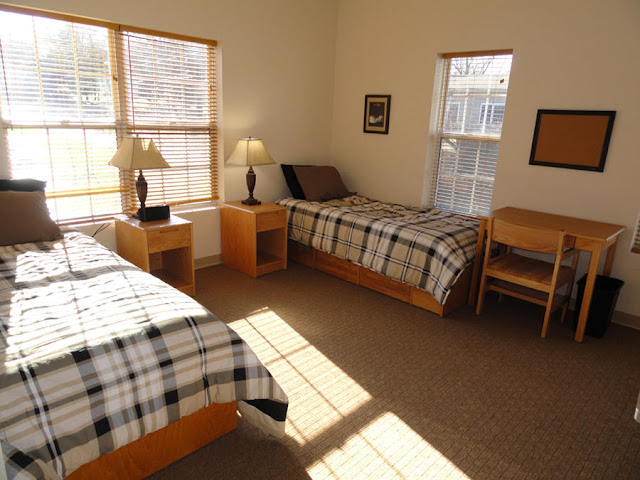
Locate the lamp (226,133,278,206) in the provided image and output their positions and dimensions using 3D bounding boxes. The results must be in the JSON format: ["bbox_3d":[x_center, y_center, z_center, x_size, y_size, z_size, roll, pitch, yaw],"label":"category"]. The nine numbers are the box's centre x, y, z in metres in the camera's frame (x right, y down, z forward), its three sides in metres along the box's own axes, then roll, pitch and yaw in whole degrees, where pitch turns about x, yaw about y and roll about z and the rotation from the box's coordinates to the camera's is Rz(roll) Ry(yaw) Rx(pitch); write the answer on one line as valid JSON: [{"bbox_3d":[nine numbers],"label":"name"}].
[{"bbox_3d":[-0.743,-0.726,4.659,0.431,0.671,0.436,-8,21,-25],"label":"lamp"}]

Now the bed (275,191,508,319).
[{"bbox_3d":[0.614,0.093,4.414,1.703,0.564,1.029,14,20,41],"label":"bed"}]

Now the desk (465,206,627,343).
[{"bbox_3d":[1.917,0.275,3.900,0.729,0.869,0.960,13,5,42],"label":"desk"}]

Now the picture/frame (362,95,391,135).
[{"bbox_3d":[0.645,-1.431,5.111,0.024,0.409,0.362,-15,24,-40],"label":"picture/frame"}]

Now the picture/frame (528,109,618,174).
[{"bbox_3d":[2.167,-0.875,3.903,0.589,0.489,0.027,13,28,31],"label":"picture/frame"}]

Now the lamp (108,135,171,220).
[{"bbox_3d":[-1.503,-0.513,3.792,0.368,0.697,0.369,16,24,37],"label":"lamp"}]

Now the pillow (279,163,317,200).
[{"bbox_3d":[-0.270,-0.660,5.109,0.120,0.364,0.387,-14,2,30],"label":"pillow"}]

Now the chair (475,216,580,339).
[{"bbox_3d":[1.772,0.238,3.815,0.751,0.864,0.621,16,23,39],"label":"chair"}]

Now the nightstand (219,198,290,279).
[{"bbox_3d":[-0.693,-0.077,4.934,0.809,0.916,0.649,13,18,43],"label":"nightstand"}]

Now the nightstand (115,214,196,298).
[{"bbox_3d":[-1.470,0.153,4.047,0.505,0.718,0.641,-10,20,-37],"label":"nightstand"}]

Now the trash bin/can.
[{"bbox_3d":[2.266,0.504,3.706,0.304,0.453,0.331,2,17,26],"label":"trash bin/can"}]
